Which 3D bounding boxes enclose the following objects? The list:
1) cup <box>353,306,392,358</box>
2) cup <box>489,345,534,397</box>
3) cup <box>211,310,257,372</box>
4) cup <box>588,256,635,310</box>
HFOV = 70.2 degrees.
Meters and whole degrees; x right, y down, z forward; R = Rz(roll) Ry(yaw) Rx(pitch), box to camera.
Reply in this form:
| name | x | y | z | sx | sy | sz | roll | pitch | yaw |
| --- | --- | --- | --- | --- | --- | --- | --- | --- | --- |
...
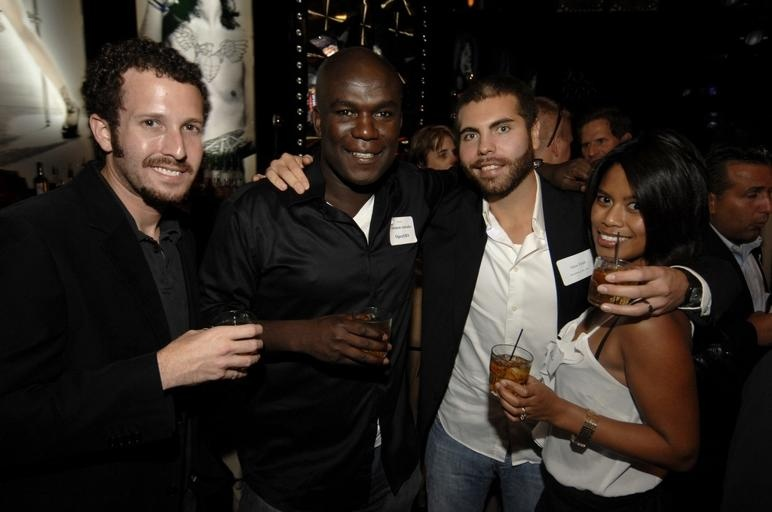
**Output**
| name | x | y | z | sx | sy | sz | roll | pitch | yaw |
| --- | --- | --- | --- | --- | --- | --- | --- | --- | --- |
| cup | -0.069 | 0.447 | 3.110 | 0.277 | 0.209 | 0.244 | -10 | 58 | -10 |
| cup | 0.664 | 0.623 | 2.984 | 0.283 | 0.276 | 0.289 | 5 | -12 | 1 |
| cup | -0.762 | 0.430 | 2.747 | 0.323 | 0.281 | 0.300 | 7 | 1 | 0 |
| cup | 1.202 | 0.155 | 2.937 | 0.199 | 0.244 | 0.293 | 7 | 16 | 19 |
